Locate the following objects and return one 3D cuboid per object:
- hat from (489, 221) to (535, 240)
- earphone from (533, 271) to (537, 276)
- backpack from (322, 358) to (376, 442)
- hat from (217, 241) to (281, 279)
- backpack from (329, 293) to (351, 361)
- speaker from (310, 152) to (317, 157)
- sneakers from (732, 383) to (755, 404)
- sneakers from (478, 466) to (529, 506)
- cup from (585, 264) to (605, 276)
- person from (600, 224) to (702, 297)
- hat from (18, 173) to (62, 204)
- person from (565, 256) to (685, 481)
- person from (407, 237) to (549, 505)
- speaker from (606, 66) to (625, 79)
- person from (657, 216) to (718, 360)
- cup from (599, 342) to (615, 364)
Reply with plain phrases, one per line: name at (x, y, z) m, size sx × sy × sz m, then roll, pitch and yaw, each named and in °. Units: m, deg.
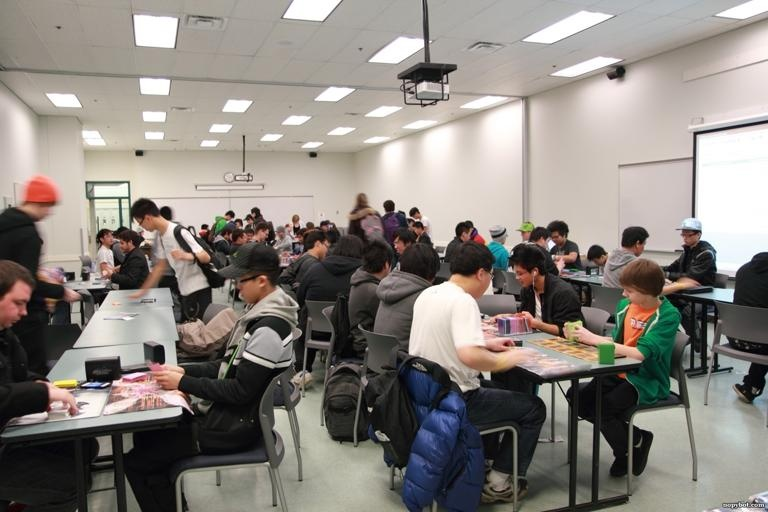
hat at (2.285, -0.415, 8.573) m, size 0.627 × 0.264 × 0.613 m, roll -3°, pitch -2°, yaw -42°
earphone at (1.187, 0.143, 3.899) m, size 0.024 × 0.012 × 0.034 m, roll 0°, pitch -39°, yaw 0°
backpack at (-0.332, 1.283, 4.356) m, size 0.449 × 0.644 × 0.385 m, roll -4°, pitch 9°, yaw 10°
hat at (-0.829, 0.024, 3.074) m, size 0.320 × 0.165 × 0.208 m, roll 2°, pitch 1°, yaw -9°
backpack at (-0.383, 0.632, 4.643) m, size 0.216 × 0.240 × 0.602 m, roll 13°, pitch 39°, yaw -17°
speaker at (-2.642, -3.746, 18.541) m, size 0.253 × 0.178 × 0.137 m, roll 1°, pitch 0°, yaw -6°
sneakers at (3.467, 1.332, 4.787) m, size 0.080 × 0.104 × 0.236 m, roll 2°, pitch 11°, yaw 3°
sneakers at (0.804, 1.647, 3.542) m, size 0.438 × 0.214 × 0.165 m, roll -2°, pitch 6°, yaw -11°
cup at (2.922, 0.215, 6.934) m, size 0.219 × 0.140 × 0.218 m, roll 0°, pitch -2°, yaw 0°
person at (3.048, 0.062, 5.723) m, size 1.026 × 0.748 × 0.762 m, roll -3°, pitch 9°, yaw -11°
hat at (-2.854, -0.546, 4.150) m, size 0.306 × 0.225 × 0.201 m, roll 4°, pitch -2°, yaw -38°
person at (1.713, 0.835, 3.584) m, size 0.794 × 1.621 × 0.471 m, roll 0°, pitch 1°, yaw -29°
person at (0.614, 0.817, 3.307) m, size 0.932 × 1.816 × 0.569 m, roll 0°, pitch 1°, yaw -30°
speaker at (4.077, -3.216, 8.786) m, size 0.153 × 0.216 × 0.336 m, roll 0°, pitch 1°, yaw -28°
person at (3.751, 0.353, 6.182) m, size 0.764 × 1.472 × 0.622 m, roll -2°, pitch 4°, yaw -13°
cup at (1.441, 0.640, 3.222) m, size 0.124 × 0.152 × 0.086 m, roll 0°, pitch -4°, yaw 2°
